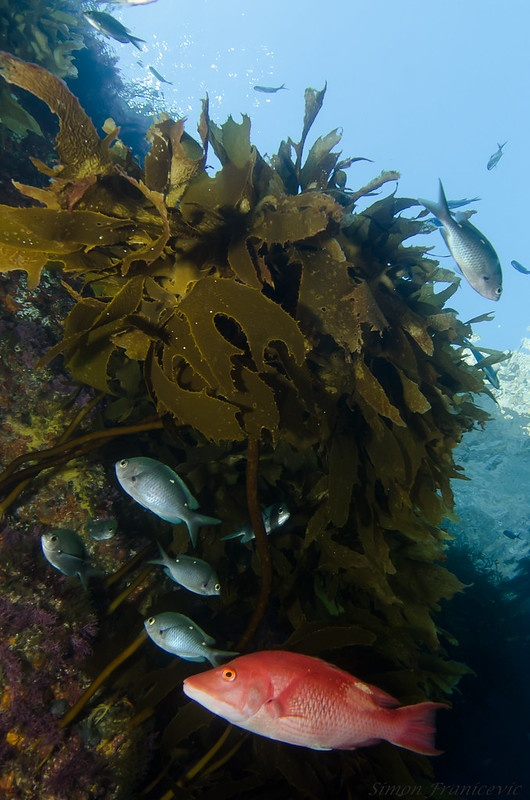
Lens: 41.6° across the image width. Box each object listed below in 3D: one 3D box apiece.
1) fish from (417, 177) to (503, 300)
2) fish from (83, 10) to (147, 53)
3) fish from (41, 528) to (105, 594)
[{"bbox_3d":[1.264,-0.964,4.337,0.208,0.362,0.872,-28,76,-17],"label":"fish"},{"bbox_3d":[-1.325,-3.239,6.032,0.482,0.254,0.536,9,17,-21],"label":"fish"},{"bbox_3d":[-0.948,0.794,3.474,0.141,0.393,0.213,-21,28,49],"label":"fish"}]
